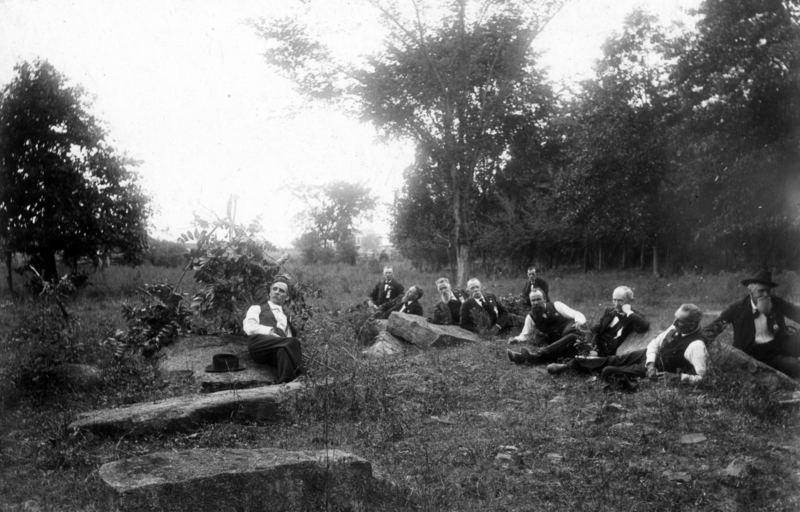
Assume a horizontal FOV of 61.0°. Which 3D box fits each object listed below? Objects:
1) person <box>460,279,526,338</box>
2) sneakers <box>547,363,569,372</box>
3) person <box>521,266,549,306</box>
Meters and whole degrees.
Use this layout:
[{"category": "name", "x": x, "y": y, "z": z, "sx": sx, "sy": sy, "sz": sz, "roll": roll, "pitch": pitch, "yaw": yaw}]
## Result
[{"category": "person", "x": 2.431, "y": 1.407, "z": 18.524, "sx": 1.658, "sy": 1.156, "sz": 1.241, "roll": 4, "pitch": 11, "yaw": 36}, {"category": "sneakers", "x": 3.271, "y": 2.281, "z": 14.052, "sx": 0.375, "sy": 0.207, "sz": 0.186, "roll": -2, "pitch": 12, "yaw": 14}, {"category": "person", "x": 4.224, "y": 1.183, "z": 21.341, "sx": 0.817, "sy": 1.603, "sz": 0.794, "roll": -3, "pitch": 6, "yaw": -4}]
